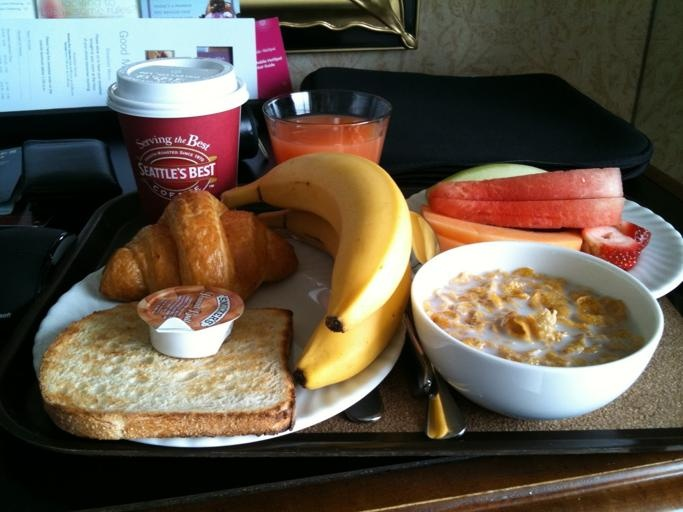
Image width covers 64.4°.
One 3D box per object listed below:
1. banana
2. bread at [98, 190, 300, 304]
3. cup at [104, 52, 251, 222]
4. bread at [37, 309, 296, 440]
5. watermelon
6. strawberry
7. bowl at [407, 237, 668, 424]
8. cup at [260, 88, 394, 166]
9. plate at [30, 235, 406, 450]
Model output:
[{"bbox_3d":[-0.033,-0.031,0.844,0.216,0.204,0.461,-10,33,-19],"label":"banana"},{"bbox_3d":[-0.232,-0.006,0.865,0.304,0.127,0.186,0,16,-7],"label":"bread"},{"bbox_3d":[-0.276,-0.232,1.002,0.253,0.258,0.227,-6,25,-15],"label":"cup"},{"bbox_3d":[-0.223,0.142,0.692,0.237,0.038,0.162,2,32,-13],"label":"bread"},{"bbox_3d":[0.313,-0.132,0.990,0.254,0.099,0.376,-5,16,-24],"label":"watermelon"},{"bbox_3d":[0.455,-0.023,0.900,0.090,0.068,0.131,3,13,-8],"label":"strawberry"},{"bbox_3d":[0.250,0.081,0.715,0.283,0.117,0.266,1,29,-1],"label":"bowl"},{"bbox_3d":[-0.024,-0.283,1.149,0.272,0.183,0.192,3,23,10],"label":"cup"},{"bbox_3d":[-0.159,0.103,0.847,0.435,0.227,0.385,3,20,18],"label":"plate"}]
